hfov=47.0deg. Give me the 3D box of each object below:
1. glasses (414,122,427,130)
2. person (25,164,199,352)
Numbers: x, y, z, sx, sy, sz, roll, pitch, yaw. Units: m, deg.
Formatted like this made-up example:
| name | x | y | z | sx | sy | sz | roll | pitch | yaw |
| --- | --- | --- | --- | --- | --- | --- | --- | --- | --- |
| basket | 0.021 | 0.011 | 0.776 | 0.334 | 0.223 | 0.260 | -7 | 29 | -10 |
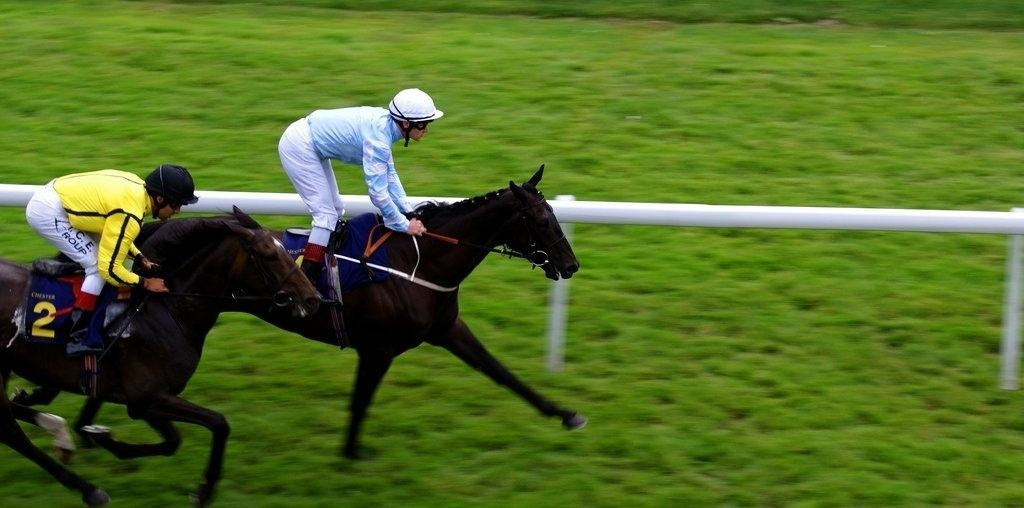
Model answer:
| name | x | y | z | sx | sy | sz | roll | pitch | yaw |
| --- | --- | --- | --- | --- | --- | --- | --- | --- | --- |
| glasses | -0.750 | -1.085 | 9.760 | 0.114 | 0.068 | 0.048 | -14 | 30 | -37 |
| person | -3.376 | -0.009 | 9.494 | 0.992 | 1.481 | 1.120 | 17 | 29 | 26 |
